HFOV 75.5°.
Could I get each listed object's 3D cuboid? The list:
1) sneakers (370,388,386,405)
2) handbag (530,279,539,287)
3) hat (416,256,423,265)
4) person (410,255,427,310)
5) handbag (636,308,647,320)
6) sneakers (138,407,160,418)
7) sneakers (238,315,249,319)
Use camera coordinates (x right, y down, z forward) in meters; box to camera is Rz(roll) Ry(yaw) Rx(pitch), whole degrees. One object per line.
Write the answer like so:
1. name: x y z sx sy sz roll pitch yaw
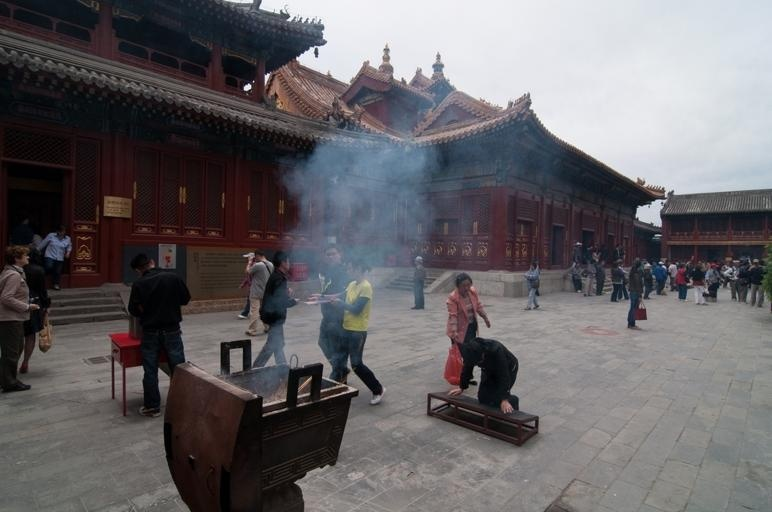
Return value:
1. sneakers: -0.122 2.139 7.601 0.112 0.138 0.338 -5 0 16
2. handbag: 4.331 0.795 14.499 0.230 0.168 0.216 6 -5 -40
3. hat: 0.978 0.135 14.575 0.200 0.191 0.237 0 5 -5
4. person: 0.934 0.769 14.373 0.358 1.374 1.088 -1 0 5
5. handbag: 6.128 1.387 11.999 0.310 0.309 0.118 -1 0 -7
6. sneakers: -3.366 2.224 7.117 0.257 0.112 0.121 19 -4 2
7. sneakers: -3.450 1.480 12.060 0.275 0.112 0.148 8 -9 -3
